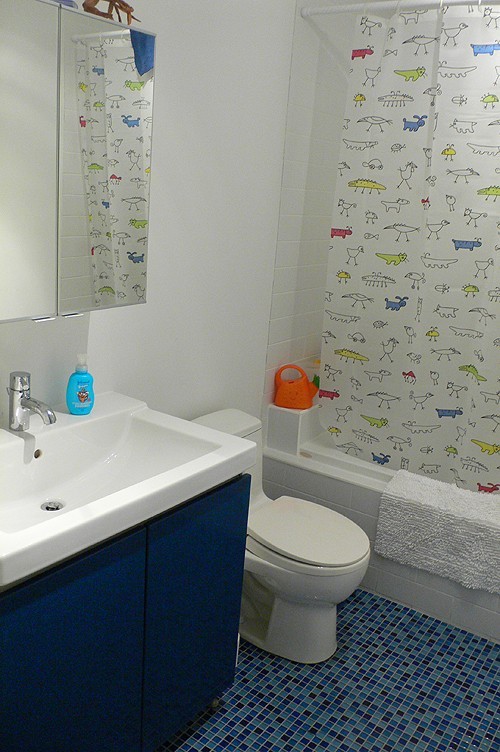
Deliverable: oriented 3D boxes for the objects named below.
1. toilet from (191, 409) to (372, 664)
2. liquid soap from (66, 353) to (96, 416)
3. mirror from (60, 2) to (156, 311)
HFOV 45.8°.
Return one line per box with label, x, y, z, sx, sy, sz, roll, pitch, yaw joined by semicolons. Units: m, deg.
toilet;0.099;0.538;1.947;0.658;0.678;0.365;10;19;37
liquid soap;-0.421;0.015;1.471;0.067;0.138;0.125;0;12;-18
mirror;-0.320;-0.461;1.338;0.085;0.628;0.315;7;12;19
